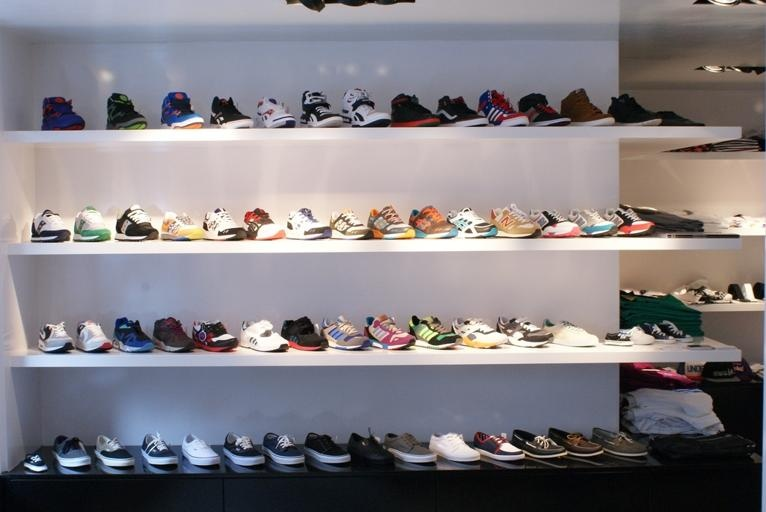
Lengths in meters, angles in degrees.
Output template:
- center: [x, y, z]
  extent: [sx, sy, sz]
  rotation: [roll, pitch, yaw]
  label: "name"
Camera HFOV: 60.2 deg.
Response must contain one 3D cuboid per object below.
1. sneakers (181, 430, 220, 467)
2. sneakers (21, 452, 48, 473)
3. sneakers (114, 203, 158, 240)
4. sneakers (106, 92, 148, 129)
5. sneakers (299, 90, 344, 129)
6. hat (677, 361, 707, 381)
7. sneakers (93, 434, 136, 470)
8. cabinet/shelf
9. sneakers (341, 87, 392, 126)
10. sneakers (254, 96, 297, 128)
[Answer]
- center: [-1.051, 1.112, 3.783]
  extent: [0.111, 0.093, 0.268]
  rotation: [1, 0, -41]
  label: "sneakers"
- center: [-1.972, 1.167, 3.720]
  extent: [0.179, 0.069, 0.068]
  rotation: [-2, -4, 44]
  label: "sneakers"
- center: [-1.427, -0.185, 3.775]
  extent: [0.251, 0.180, 0.122]
  rotation: [-7, 4, -8]
  label: "sneakers"
- center: [-1.450, -0.809, 3.661]
  extent: [0.347, 0.201, 0.126]
  rotation: [1, 1, 30]
  label: "sneakers"
- center: [-0.308, -0.827, 3.746]
  extent: [0.352, 0.208, 0.126]
  rotation: [3, 4, 34]
  label: "sneakers"
- center: [1.844, 0.684, 3.945]
  extent: [0.104, 0.052, 0.131]
  rotation: [0, -2, 4]
  label: "hat"
- center: [-1.544, 1.128, 3.787]
  extent: [0.285, 0.100, 0.117]
  rotation: [2, -3, 45]
  label: "sneakers"
- center: [-0.073, -0.083, 3.881]
  extent: [3.059, 1.709, 0.897]
  rotation: [0, 1, -2]
  label: "cabinet/shelf"
- center: [-0.103, -0.851, 3.790]
  extent: [0.272, 0.156, 0.146]
  rotation: [-6, 4, 8]
  label: "sneakers"
- center: [-0.615, -0.821, 3.765]
  extent: [0.119, 0.133, 0.301]
  rotation: [-3, 10, -38]
  label: "sneakers"
